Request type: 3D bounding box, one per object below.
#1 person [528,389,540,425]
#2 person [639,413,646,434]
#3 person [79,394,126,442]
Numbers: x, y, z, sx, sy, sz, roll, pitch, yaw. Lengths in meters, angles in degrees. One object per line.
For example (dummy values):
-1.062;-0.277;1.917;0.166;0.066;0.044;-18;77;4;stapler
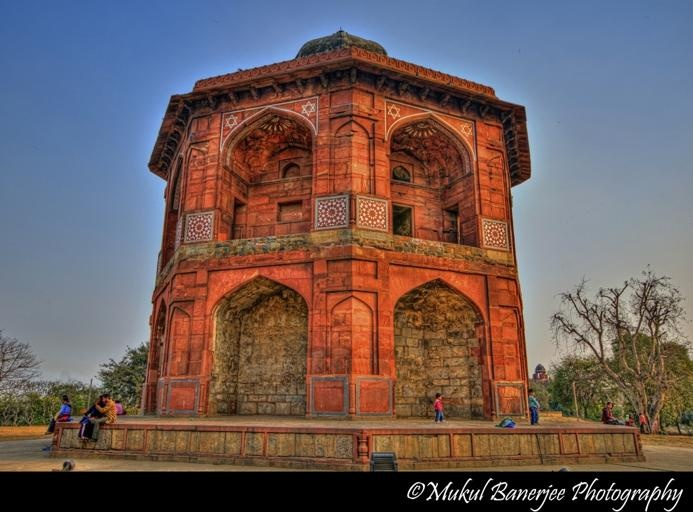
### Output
4.612;3.712;12.100;0.211;0.760;1.033;-3;-15;19;person
12.989;7.217;21.412;0.290;0.870;0.602;-7;-17;29;person
-4.879;3.162;9.615;0.621;0.917;0.448;8;-16;-22;person
